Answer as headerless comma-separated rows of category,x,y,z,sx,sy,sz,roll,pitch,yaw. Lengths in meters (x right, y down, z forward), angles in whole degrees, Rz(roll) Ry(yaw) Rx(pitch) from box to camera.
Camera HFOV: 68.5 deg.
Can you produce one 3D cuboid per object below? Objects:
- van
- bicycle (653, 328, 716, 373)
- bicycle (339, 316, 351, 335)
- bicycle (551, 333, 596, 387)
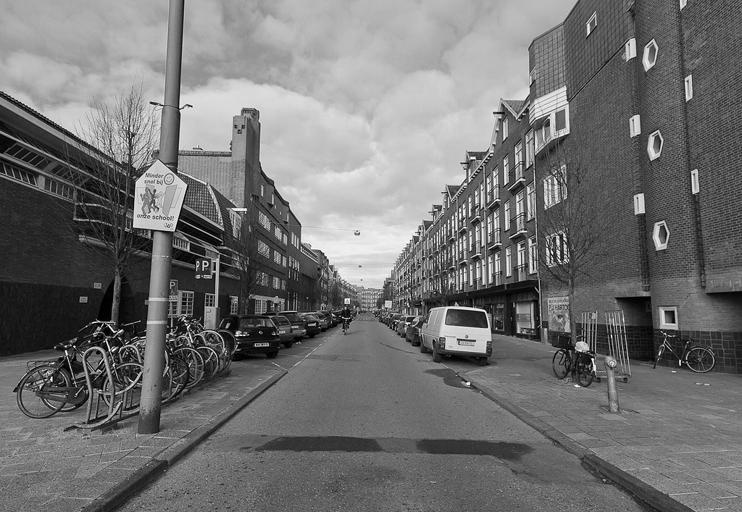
van,2.972,2.731,19.717,1.392,1.450,2.716,3,-3,-4
bicycle,10.080,3.090,17.444,0.768,1.059,1.542,20,-1,-36
bicycle,-1.613,4.412,34.101,0.669,1.065,1.644,2,3,0
bicycle,5.711,2.976,15.523,0.790,1.453,1.512,0,-10,-5
